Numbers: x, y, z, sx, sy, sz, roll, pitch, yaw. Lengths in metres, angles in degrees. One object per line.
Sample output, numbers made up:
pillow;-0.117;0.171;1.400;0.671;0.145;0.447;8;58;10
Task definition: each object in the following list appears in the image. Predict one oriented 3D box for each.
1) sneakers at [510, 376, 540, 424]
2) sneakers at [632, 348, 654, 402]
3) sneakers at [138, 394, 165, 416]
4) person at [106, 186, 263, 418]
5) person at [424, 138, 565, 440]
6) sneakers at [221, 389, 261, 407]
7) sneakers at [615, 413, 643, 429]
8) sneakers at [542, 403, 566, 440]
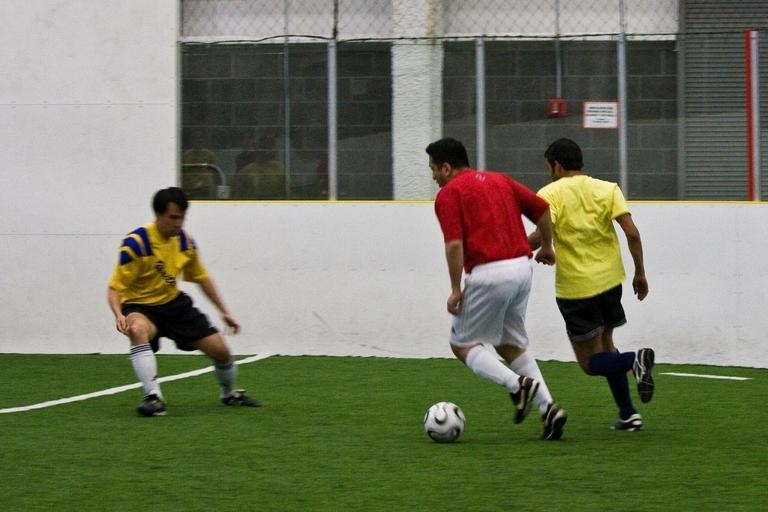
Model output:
sneakers;1.118;1.135;10.640;0.203;0.403;0.159;17;26;11
sneakers;2.118;0.968;10.843;0.170;0.431;0.216;-1;7;12
sneakers;-2.012;1.314;11.584;0.276;0.157;0.135;10;-13;-28
person;-1.845;0.532;11.690;1.067;1.676;0.484;-6;12;-29
person;0.912;0.271;10.815;1.112;2.434;0.814;0;11;2
sneakers;-1.298;1.287;11.996;0.421;0.144;0.133;-1;-6;11
sneakers;2.036;1.392;11.128;0.264;0.106;0.101;-1;-2;31
sneakers;1.348;1.353;10.768;0.154;0.347;0.163;-17;52;-24
